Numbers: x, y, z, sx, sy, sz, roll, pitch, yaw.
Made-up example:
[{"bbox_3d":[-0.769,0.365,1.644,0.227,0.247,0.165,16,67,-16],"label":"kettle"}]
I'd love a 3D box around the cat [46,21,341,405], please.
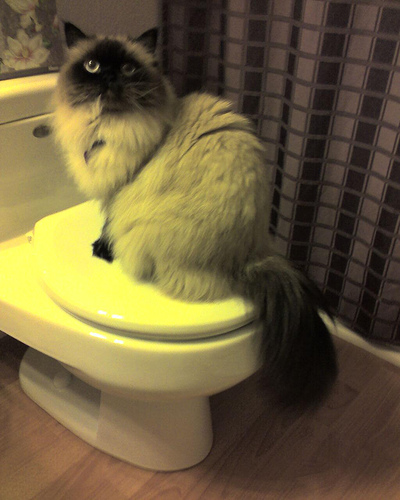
[{"bbox_3d":[-0.007,-0.040,0.689,0.276,0.526,0.450,-24,41,-32],"label":"cat"}]
